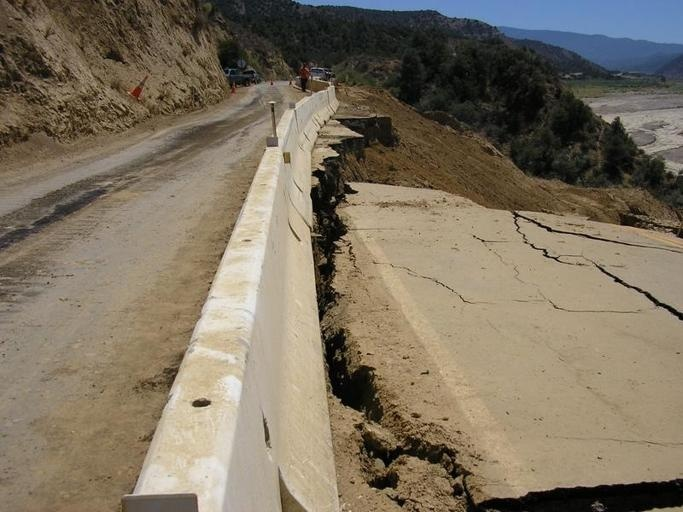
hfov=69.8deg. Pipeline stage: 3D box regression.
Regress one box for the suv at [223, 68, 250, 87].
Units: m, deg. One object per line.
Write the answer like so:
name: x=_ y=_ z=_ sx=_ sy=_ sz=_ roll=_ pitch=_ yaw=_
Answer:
suv: x=-8.274 y=-14.178 z=38.883 sx=1.099 sy=1.351 sz=2.255 roll=17 pitch=34 yaw=20
